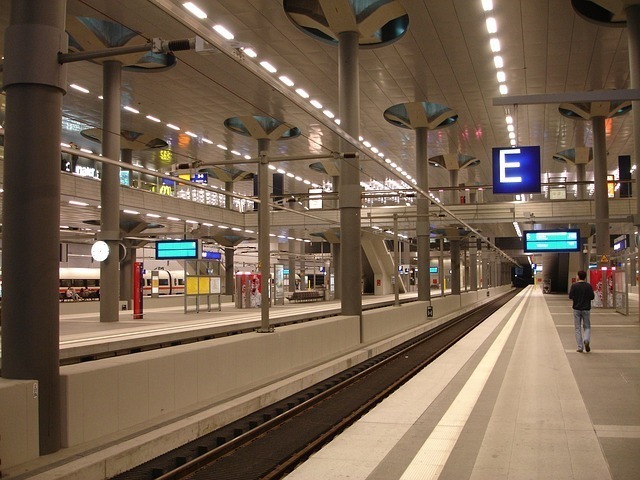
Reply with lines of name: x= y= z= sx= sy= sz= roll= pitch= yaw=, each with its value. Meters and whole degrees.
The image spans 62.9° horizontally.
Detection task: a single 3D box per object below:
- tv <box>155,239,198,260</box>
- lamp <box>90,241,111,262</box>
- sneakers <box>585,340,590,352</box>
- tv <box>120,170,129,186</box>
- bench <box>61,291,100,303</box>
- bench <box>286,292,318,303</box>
tv: x=-5.993 y=0.389 z=22.134 sx=2.342 sy=0.909 sz=0.552 roll=-5 pitch=-3 yaw=35
lamp: x=-7.310 y=0.368 z=17.554 sx=0.595 sy=0.735 sz=0.407 roll=-2 pitch=-2 yaw=-8
sneakers: x=6.492 y=2.546 z=12.678 sx=0.104 sy=0.279 sz=0.116 roll=-13 pitch=-12 yaw=29
tv: x=-8.151 y=-2.592 z=22.131 sx=0.355 sy=0.649 sz=0.997 roll=-2 pitch=-3 yaw=-18
bench: x=-15.502 y=3.555 z=34.046 sx=2.211 sy=0.724 sz=7.181 roll=-1 pitch=-3 yaw=-24
bench: x=-0.875 y=3.628 z=33.514 sx=1.242 sy=0.779 sz=4.644 roll=-3 pitch=-3 yaw=10
